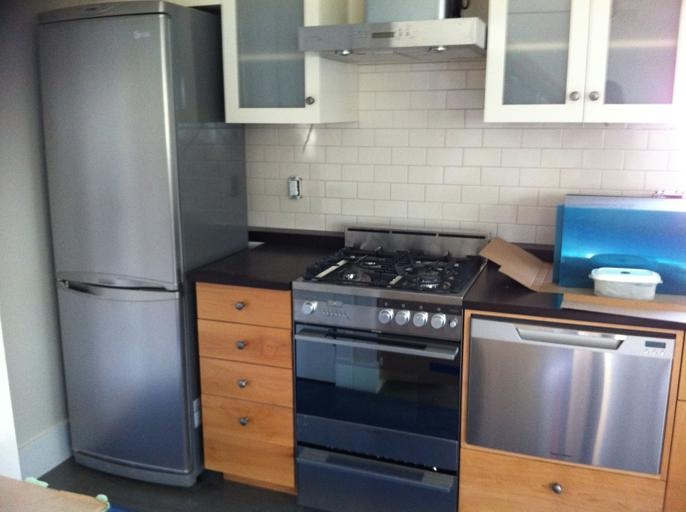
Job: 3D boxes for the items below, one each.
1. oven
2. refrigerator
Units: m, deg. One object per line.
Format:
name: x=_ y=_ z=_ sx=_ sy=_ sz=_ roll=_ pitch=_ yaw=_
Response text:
oven: x=0.228 y=0.564 z=2.930 sx=0.860 sy=0.798 sz=0.556 roll=3 pitch=2 yaw=22
refrigerator: x=-1.050 y=-0.007 z=2.988 sx=0.831 sy=2.404 sz=0.520 roll=-3 pitch=14 yaw=-16
